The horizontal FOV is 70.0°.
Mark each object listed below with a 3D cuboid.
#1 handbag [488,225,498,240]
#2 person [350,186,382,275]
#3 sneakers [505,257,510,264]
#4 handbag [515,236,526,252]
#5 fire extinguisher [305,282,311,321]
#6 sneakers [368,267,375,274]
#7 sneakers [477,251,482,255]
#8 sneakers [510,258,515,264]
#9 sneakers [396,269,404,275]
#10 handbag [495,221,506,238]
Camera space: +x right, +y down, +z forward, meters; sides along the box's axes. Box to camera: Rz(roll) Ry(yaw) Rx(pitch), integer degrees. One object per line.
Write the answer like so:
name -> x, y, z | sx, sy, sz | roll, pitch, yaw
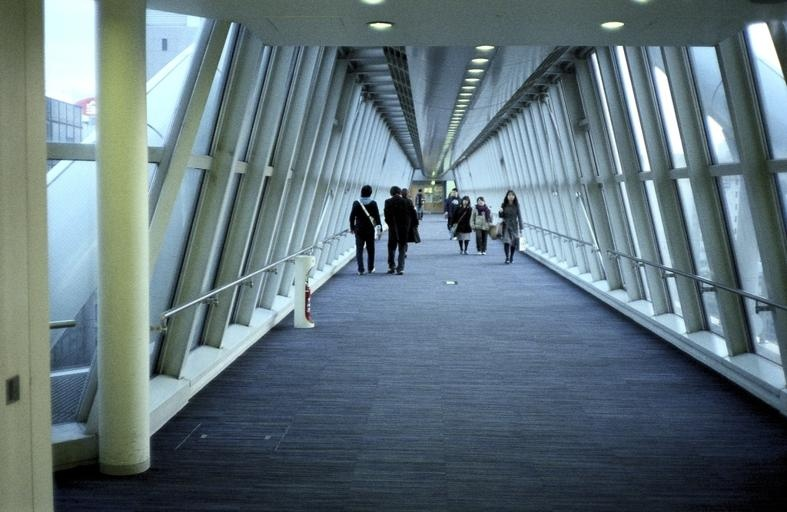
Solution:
handbag -> 2.978, -0.663, 16.876 | 0.334, 0.397, 0.377 | 13, 15, 10
person -> -0.730, -0.623, 14.430 | 0.730, 2.350, 1.156 | -1, 9, -4
sneakers -> 3.420, 0.149, 17.014 | 0.164, 0.219, 0.125 | -5, 1, -4
handbag -> 4.288, -0.412, 19.011 | 0.266, 0.551, 0.613 | -1, 1, 18
fire extinguisher -> -1.434, 0.770, 9.299 | 0.051, 0.615, 0.118 | 6, 11, 32
sneakers -> -0.613, 0.389, 15.073 | 0.156, 0.195, 0.458 | 0, 6, 6
sneakers -> 2.935, -0.099, 19.255 | 0.110, 0.120, 0.298 | -1, -10, 12
sneakers -> 3.642, 0.166, 17.323 | 0.060, 0.153, 0.166 | 6, 1, 17
sneakers -> 0.164, 0.437, 14.815 | 0.111, 0.112, 0.140 | 8, 11, 32
handbag -> 3.163, -0.771, 16.650 | 0.326, 0.377, 0.146 | 5, -1, -34
